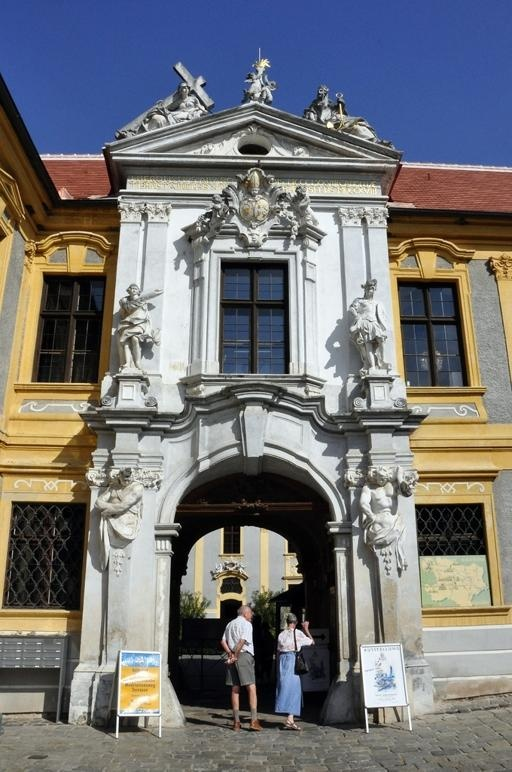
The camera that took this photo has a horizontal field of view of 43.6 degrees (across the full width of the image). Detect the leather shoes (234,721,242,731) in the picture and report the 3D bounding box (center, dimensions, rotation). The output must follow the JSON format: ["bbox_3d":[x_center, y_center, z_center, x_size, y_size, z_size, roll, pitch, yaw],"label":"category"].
[{"bbox_3d":[-0.223,3.953,7.495,0.079,0.127,0.229,0,-20,-2],"label":"leather shoes"}]

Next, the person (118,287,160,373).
[{"bbox_3d":[-1.847,-0.874,9.972,0.470,1.538,0.608,-18,-26,38],"label":"person"}]

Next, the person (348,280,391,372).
[{"bbox_3d":[1.747,-0.779,9.977,0.581,1.338,0.398,-7,-21,17],"label":"person"}]

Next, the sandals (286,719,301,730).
[{"bbox_3d":[0.443,4.006,7.584,0.171,0.115,0.250,-1,-20,-1],"label":"sandals"}]

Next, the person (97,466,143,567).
[{"bbox_3d":[-1.874,1.809,8.708,0.614,1.313,0.403,1,-20,-5],"label":"person"}]

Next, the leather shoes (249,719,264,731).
[{"bbox_3d":[-0.006,3.919,7.410,0.140,0.125,0.276,-1,-20,-1],"label":"leather shoes"}]

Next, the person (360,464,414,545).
[{"bbox_3d":[1.842,1.701,8.983,0.766,1.146,0.311,-3,-20,5],"label":"person"}]

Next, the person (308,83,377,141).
[{"bbox_3d":[1.517,-4.907,11.844,1.241,1.502,0.589,-1,-20,1],"label":"person"}]
